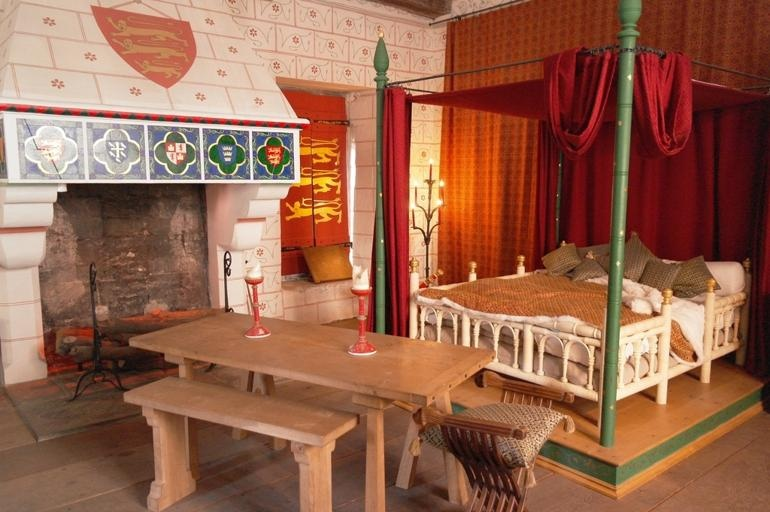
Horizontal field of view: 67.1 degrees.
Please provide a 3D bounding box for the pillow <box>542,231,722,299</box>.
[{"bbox_3d":[2.641,0.111,6.149,0.850,0.293,1.099,-9,14,-39],"label":"pillow"}]

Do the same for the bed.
[{"bbox_3d":[1.955,0.569,5.893,2.685,0.859,2.336,-7,13,-33],"label":"bed"}]

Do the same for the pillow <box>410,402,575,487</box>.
[{"bbox_3d":[0.746,1.147,3.976,0.816,0.180,0.742,2,10,36],"label":"pillow"}]

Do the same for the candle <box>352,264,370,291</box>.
[{"bbox_3d":[-0.170,0.138,4.267,0.114,0.178,0.321,-3,11,4],"label":"candle"}]

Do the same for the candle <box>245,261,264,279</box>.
[{"bbox_3d":[-1.258,0.125,5.537,0.214,0.171,0.193,3,10,16],"label":"candle"}]
